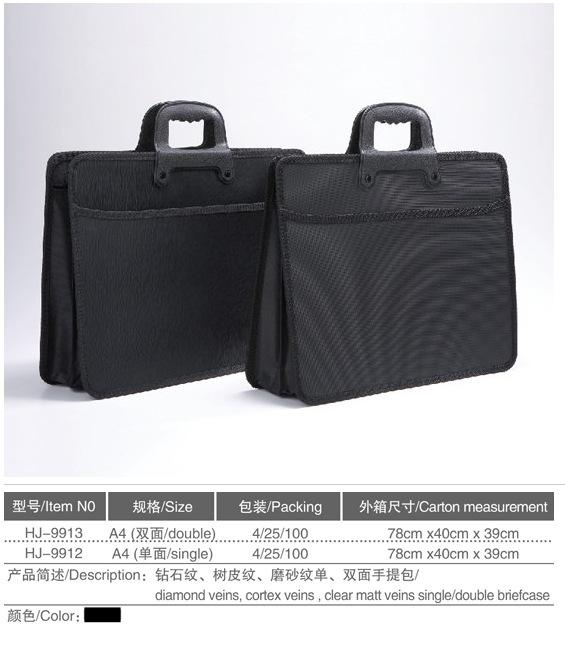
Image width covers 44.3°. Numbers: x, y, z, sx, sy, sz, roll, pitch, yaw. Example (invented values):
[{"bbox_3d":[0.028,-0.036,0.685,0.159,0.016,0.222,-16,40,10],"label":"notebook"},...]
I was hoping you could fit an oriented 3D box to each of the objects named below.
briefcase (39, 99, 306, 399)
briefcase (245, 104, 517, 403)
[{"bbox_3d":[-0.178,-0.104,1.071,0.350,0.397,0.120,-9,16,-38],"label":"briefcase"},{"bbox_3d":[0.132,-0.108,1.096,0.359,0.421,0.121,-6,10,-32],"label":"briefcase"}]
